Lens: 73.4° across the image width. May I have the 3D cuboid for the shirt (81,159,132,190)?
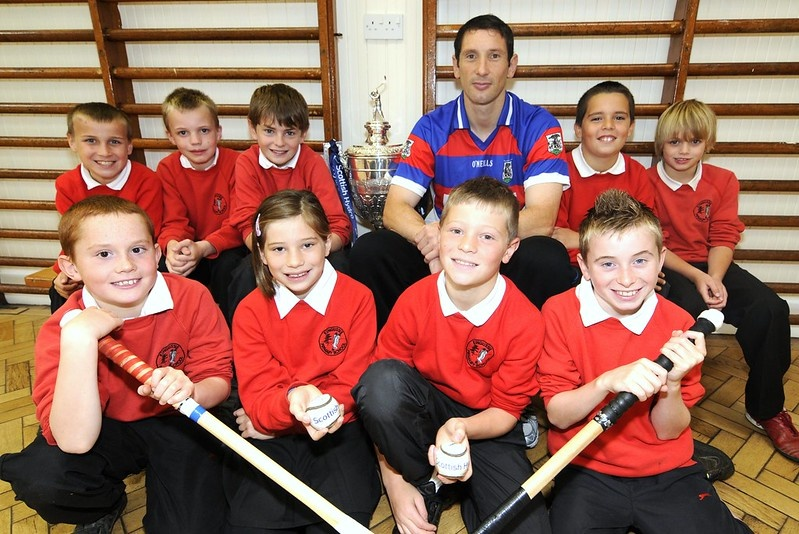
[{"bbox_3d":[-1.554,-0.476,2.843,0.265,0.138,0.099,-4,16,-6],"label":"shirt"}]

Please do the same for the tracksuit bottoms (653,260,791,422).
[{"bbox_3d":[1.738,0.357,2.733,0.612,0.691,0.208,2,-5,15],"label":"tracksuit bottoms"}]

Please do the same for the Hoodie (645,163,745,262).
[{"bbox_3d":[1.540,-0.288,2.811,0.461,0.504,0.263,5,18,23],"label":"Hoodie"}]

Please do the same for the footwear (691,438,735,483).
[{"bbox_3d":[1.340,0.832,2.283,0.159,0.075,0.276,8,10,18],"label":"footwear"}]

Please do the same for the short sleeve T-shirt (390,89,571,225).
[{"bbox_3d":[0.428,-0.534,2.833,0.910,0.733,0.505,4,20,11],"label":"short sleeve T-shirt"}]

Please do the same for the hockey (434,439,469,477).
[{"bbox_3d":[0.179,0.660,1.818,0.114,0.131,0.084,-2,16,2],"label":"hockey"}]

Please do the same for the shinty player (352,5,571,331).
[{"bbox_3d":[0.368,-0.328,2.707,1.083,1.729,0.945,4,15,15],"label":"shinty player"}]

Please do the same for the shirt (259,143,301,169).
[{"bbox_3d":[-0.625,-0.568,2.815,0.226,0.107,0.085,-7,17,-15],"label":"shirt"}]
